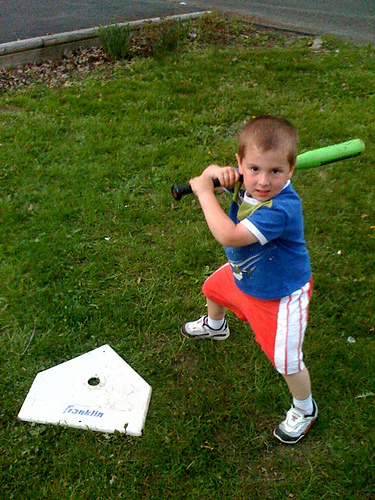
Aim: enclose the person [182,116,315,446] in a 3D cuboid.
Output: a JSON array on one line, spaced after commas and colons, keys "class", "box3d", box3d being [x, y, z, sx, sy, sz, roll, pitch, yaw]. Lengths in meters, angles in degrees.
[{"class": "person", "box3d": [0.322, 0.158, 2.436, 0.496, 1.537, 0.615, -10, 25, 1]}]
